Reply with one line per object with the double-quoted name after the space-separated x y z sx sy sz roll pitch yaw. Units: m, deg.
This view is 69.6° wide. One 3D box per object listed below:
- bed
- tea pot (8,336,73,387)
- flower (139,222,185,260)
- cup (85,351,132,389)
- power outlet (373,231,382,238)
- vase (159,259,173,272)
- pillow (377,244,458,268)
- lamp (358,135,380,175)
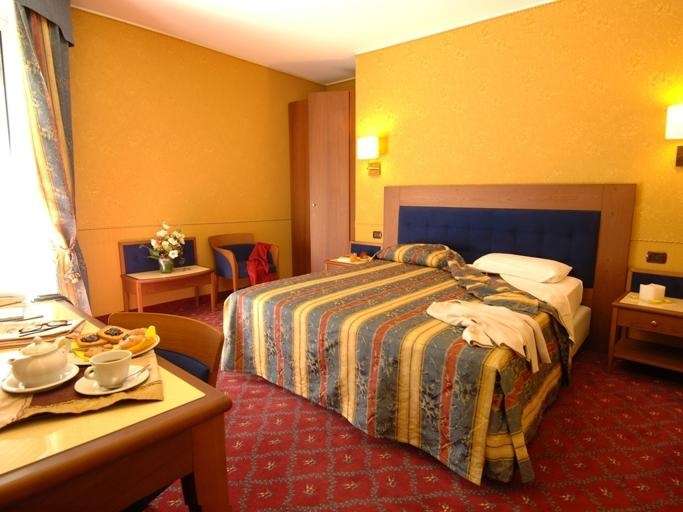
1.119 0.440 4.209 2.497 1.454 2.664 6 11 38 "bed"
-1.360 0.485 2.303 0.187 0.184 0.266 0 1 18 "tea pot"
-1.904 -0.166 5.406 0.403 0.400 0.383 9 7 35 "flower"
-1.045 0.498 2.230 0.181 0.123 0.148 -3 10 -19 "cup"
0.437 -0.261 5.953 0.123 0.088 0.069 6 12 39 "power outlet"
-1.867 0.103 5.251 0.143 0.137 0.116 0 8 -3 "vase"
0.789 -0.018 5.036 0.513 0.107 0.339 5 12 45 "pillow"
0.295 -1.187 5.843 0.193 0.453 0.368 -11 14 -43 "lamp"
